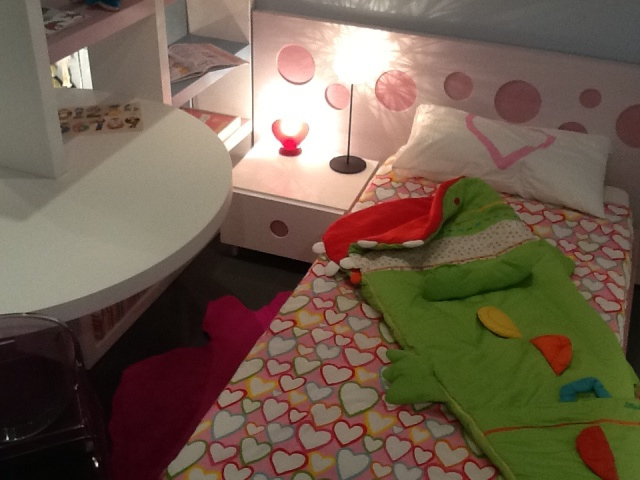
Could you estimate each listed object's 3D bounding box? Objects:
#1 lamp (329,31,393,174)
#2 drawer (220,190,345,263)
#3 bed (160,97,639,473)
[{"bbox_3d":[0.199,-0.725,2.649,0.265,0.762,0.303,-20,39,-27],"label":"lamp"},{"bbox_3d":[-0.149,-0.195,2.769,0.614,0.395,0.556,10,36,18],"label":"drawer"},{"bbox_3d":[0.526,0.404,2.049,1.146,2.095,0.876,19,-26,16],"label":"bed"}]
